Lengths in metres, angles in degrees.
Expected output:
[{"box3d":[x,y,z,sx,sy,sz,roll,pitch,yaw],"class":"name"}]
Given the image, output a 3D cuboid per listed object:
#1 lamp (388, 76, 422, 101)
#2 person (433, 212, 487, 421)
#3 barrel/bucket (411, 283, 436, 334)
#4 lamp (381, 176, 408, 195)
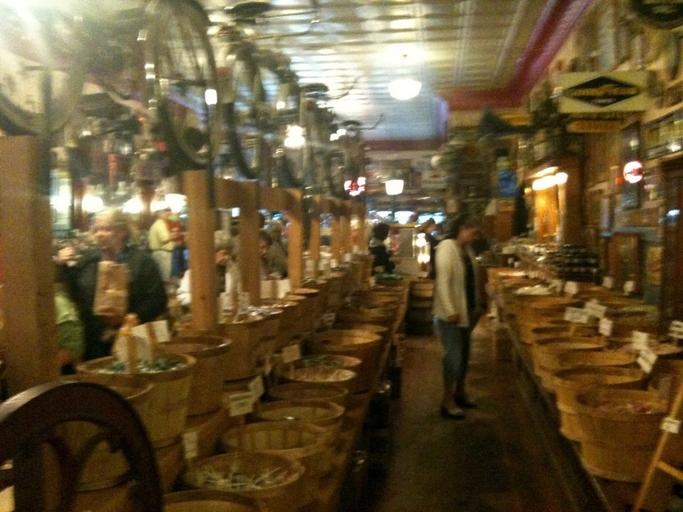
[{"box3d":[0.733,-1.973,7.221,0.286,0.318,0.715,-3,3,12],"class":"lamp"},{"box3d":[1.114,0.577,6.033,0.461,1.933,0.689,-4,4,7],"class":"person"},{"box3d":[1.307,0.834,10.253,0.393,0.882,0.339,-4,4,4],"class":"barrel/bucket"},{"box3d":[1.126,-1.522,13.624,0.651,0.389,0.531,-1,6,-1],"class":"lamp"}]
